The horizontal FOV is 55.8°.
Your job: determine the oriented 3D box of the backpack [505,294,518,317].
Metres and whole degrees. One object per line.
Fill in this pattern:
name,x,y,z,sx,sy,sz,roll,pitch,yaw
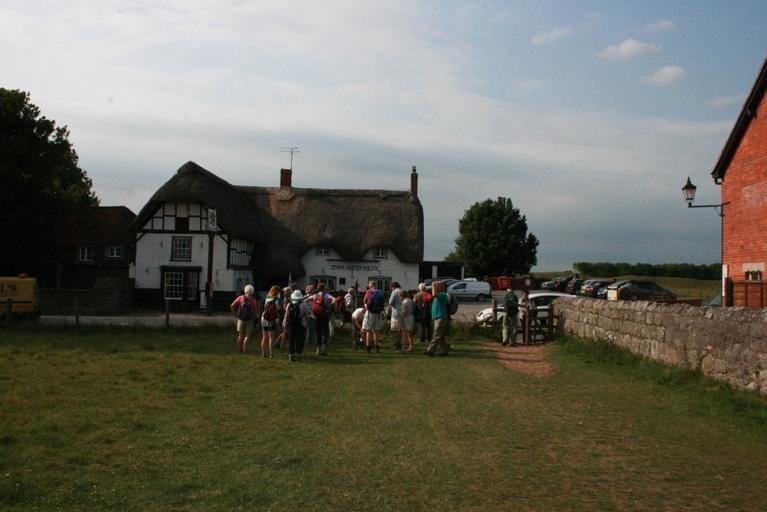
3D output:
backpack,4.577,1.707,26.077,0.497,0.993,0.791,2,8,9

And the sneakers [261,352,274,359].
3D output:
sneakers,-3.705,3.091,22.920,0.175,0.215,0.501,-1,-8,-37

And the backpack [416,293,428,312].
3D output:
backpack,1.357,1.542,25.690,0.477,0.663,0.654,-3,-22,5

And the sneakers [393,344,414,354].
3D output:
sneakers,0.676,3.112,24.560,0.691,0.293,0.214,5,-2,1

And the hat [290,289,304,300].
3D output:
hat,-2.692,1.134,22.331,0.332,0.262,0.564,0,8,-12

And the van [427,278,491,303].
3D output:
van,5.598,2.350,51.927,4.217,1.404,2.226,1,-2,-7

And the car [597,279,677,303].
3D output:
car,15.057,1.994,43.485,3.481,1.179,1.660,-2,2,-13
